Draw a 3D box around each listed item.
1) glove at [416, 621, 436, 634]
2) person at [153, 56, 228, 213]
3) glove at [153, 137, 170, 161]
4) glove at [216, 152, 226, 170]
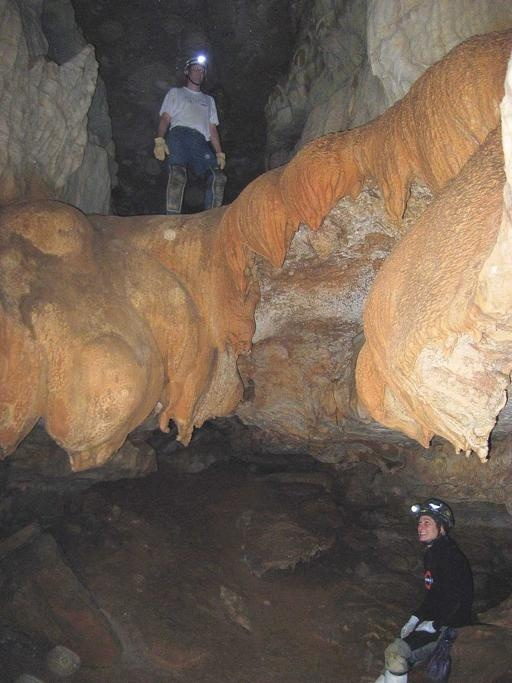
[{"bbox_3d":[1.231,2.064,5.853,0.107,0.052,0.073,-14,38,17],"label":"glove"},{"bbox_3d":[-0.583,-1.911,7.466,0.674,1.561,0.911,5,4,-6],"label":"person"},{"bbox_3d":[-0.872,-1.756,7.440,0.131,0.212,0.384,5,4,-8],"label":"glove"},{"bbox_3d":[-0.338,-1.679,7.566,0.123,0.144,0.055,2,-11,4],"label":"glove"}]
